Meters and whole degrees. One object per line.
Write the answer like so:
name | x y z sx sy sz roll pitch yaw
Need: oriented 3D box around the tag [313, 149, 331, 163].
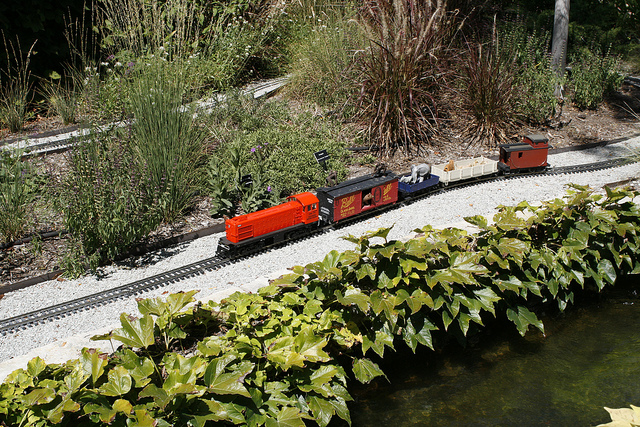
tag | 0.018 -0.904 9.042 0.242 0.185 0.233 -7 19 -11

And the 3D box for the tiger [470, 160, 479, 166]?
tiger | 2.572 -0.843 9.510 0.110 0.060 0.192 7 21 29

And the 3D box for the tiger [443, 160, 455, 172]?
tiger | 2.088 -0.766 9.208 0.159 0.147 0.223 1 19 11
